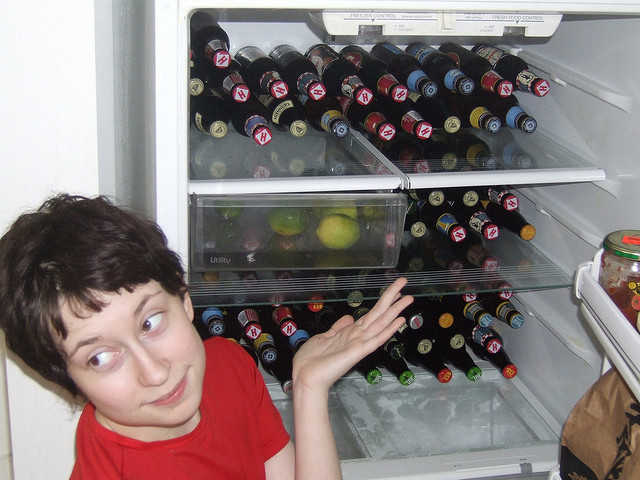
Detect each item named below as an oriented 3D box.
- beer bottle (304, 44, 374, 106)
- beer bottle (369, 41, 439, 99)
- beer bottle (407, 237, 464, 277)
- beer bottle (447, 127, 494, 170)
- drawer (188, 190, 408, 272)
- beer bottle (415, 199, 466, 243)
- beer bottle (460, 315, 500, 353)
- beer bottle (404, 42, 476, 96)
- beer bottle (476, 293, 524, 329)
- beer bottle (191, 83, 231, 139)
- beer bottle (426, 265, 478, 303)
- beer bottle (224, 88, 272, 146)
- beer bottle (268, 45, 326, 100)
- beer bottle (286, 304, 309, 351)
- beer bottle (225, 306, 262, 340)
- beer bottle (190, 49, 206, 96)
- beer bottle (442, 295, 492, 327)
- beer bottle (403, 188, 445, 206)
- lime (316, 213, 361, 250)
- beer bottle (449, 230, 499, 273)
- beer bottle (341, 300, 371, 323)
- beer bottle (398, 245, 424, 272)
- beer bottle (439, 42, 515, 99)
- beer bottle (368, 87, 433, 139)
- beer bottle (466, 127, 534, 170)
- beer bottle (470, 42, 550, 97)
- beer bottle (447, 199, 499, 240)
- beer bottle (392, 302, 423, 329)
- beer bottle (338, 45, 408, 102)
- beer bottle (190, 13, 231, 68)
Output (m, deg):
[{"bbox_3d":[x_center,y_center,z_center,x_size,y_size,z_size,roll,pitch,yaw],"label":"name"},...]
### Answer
[{"bbox_3d":[0.051,-0.482,1.461,0.103,0.110,0.297,-19,45,-17],"label":"beer bottle"},{"bbox_3d":[0.256,-0.506,1.486,0.088,0.092,0.280,-25,47,-9],"label":"beer bottle"},{"bbox_3d":[0.342,0.055,1.462,0.048,0.052,0.148,-18,28,-21],"label":"beer bottle"},{"bbox_3d":[0.431,-0.258,1.409,0.057,0.061,0.183,-22,31,-2],"label":"beer bottle"},{"bbox_3d":[-0.059,-0.022,1.267,0.562,0.286,0.080,-8,18,-7],"label":"drawer"},{"bbox_3d":[0.373,-0.062,1.522,0.052,0.056,0.165,-23,32,-13],"label":"beer bottle"},{"bbox_3d":[0.530,0.321,1.657,0.063,0.067,0.196,-29,26,-7],"label":"beer bottle"},{"bbox_3d":[0.363,-0.540,1.537,0.108,0.116,0.324,-1,17,-41],"label":"beer bottle"},{"bbox_3d":[0.589,0.228,1.615,0.044,0.051,0.192,-34,20,3],"label":"beer bottle"},{"bbox_3d":[-0.311,-0.361,1.382,0.094,0.104,0.270,-9,24,-14],"label":"beer bottle"},{"bbox_3d":[0.376,0.121,1.403,0.035,0.035,0.125,6,12,-29],"label":"beer bottle"},{"bbox_3d":[-0.205,-0.339,1.370,0.087,0.092,0.309,-11,35,-11],"label":"beer bottle"},{"bbox_3d":[-0.071,-0.498,1.440,0.086,0.088,0.295,-33,36,-3],"label":"beer bottle"},{"bbox_3d":[-0.073,0.269,1.515,0.053,0.059,0.187,-1,12,-2],"label":"beer bottle"},{"bbox_3d":[-0.229,0.236,1.529,0.120,0.122,0.127,3,15,-16],"label":"beer bottle"},{"bbox_3d":[-0.350,-0.459,1.407,0.035,0.149,0.041,-5,-6,25],"label":"beer bottle"},{"bbox_3d":[0.484,0.231,1.628,0.059,0.062,0.165,-28,23,-8],"label":"beer bottle"},{"bbox_3d":[0.325,-0.131,1.514,0.089,0.070,0.026,-9,19,13],"label":"beer bottle"},{"bbox_3d":[0.051,-0.026,1.341,0.125,0.106,0.099,-1,26,16],"label":"lime"},{"bbox_3d":[0.463,0.030,1.508,0.048,0.149,0.048,-15,38,12],"label":"beer bottle"},{"bbox_3d":[0.119,0.229,1.623,0.077,0.087,0.077,-10,1,-2],"label":"beer bottle"},{"bbox_3d":[0.268,0.058,1.455,0.062,0.017,0.073,3,38,-3],"label":"beer bottle"},{"bbox_3d":[0.473,-0.502,1.476,0.066,0.075,0.222,-31,48,-5],"label":"beer bottle"},{"bbox_3d":[0.231,-0.365,1.432,0.057,0.060,0.199,-29,38,-3],"label":"beer bottle"},{"bbox_3d":[0.512,-0.257,1.399,0.049,0.051,0.174,-29,37,1],"label":"beer bottle"},{"bbox_3d":[0.563,-0.500,1.454,0.064,0.071,0.240,-31,43,-9],"label":"beer bottle"},{"bbox_3d":[0.464,-0.059,1.514,0.041,0.044,0.165,-25,33,-5],"label":"beer bottle"},{"bbox_3d":[0.292,0.243,1.604,0.024,0.095,0.097,-2,46,-21],"label":"beer bottle"},{"bbox_3d":[0.160,-0.492,1.476,0.085,0.089,0.268,-27,47,-9],"label":"beer bottle"},{"bbox_3d":[-0.307,-0.548,1.376,0.108,0.129,0.279,-8,20,-8],"label":"beer bottle"}]
